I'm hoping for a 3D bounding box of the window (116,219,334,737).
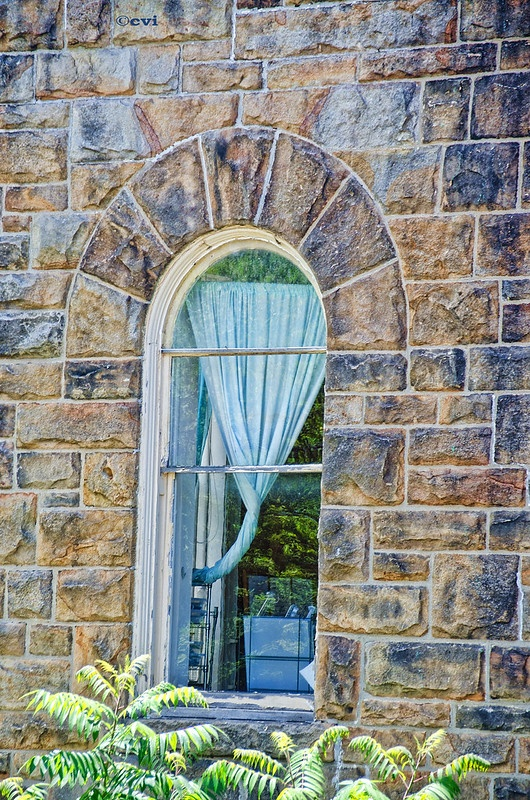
[{"bbox_3d":[-0.291,0.231,6.188,0.499,1.929,0.248,2,-7,-1],"label":"window"}]
